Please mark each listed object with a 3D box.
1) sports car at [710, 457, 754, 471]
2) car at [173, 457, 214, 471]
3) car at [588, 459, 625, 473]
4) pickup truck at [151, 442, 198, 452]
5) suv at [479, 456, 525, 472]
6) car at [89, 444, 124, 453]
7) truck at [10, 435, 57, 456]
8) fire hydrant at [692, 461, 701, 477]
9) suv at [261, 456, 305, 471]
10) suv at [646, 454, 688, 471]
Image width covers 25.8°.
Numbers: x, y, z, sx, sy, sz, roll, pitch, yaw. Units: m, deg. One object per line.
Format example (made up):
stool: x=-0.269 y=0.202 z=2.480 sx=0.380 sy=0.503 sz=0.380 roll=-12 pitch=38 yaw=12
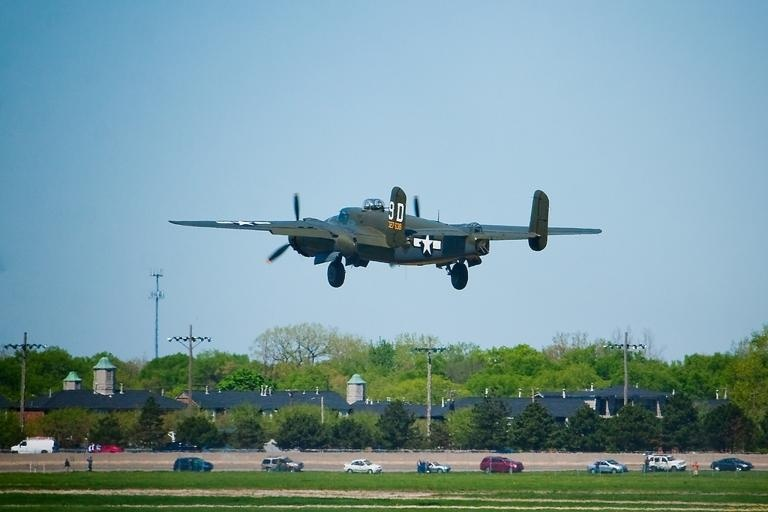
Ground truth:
sports car: x=42.285 y=24.418 z=200.104 sx=4.027 sy=1.331 sz=1.814 roll=-3 pitch=2 yaw=16
car: x=-22.807 y=24.409 z=200.070 sx=3.341 sy=1.442 sz=2.069 roll=-2 pitch=-2 yaw=14
car: x=27.267 y=24.740 z=201.019 sx=3.638 sy=1.324 sz=1.698 roll=-3 pitch=0 yaw=26
pickup truck: x=-26.349 y=23.862 z=214.375 sx=3.176 sy=0.920 sz=2.083 roll=2 pitch=-3 yaw=6
suv: x=14.834 y=24.819 z=203.701 sx=4.232 sy=1.647 sz=2.130 roll=-2 pitch=2 yaw=22
car: x=-35.761 y=23.954 z=215.018 sx=4.767 sy=1.054 sz=2.256 roll=-5 pitch=-14 yaw=27
truck: x=-44.678 y=23.685 z=214.502 sx=4.198 sy=2.101 sz=2.409 roll=2 pitch=-7 yaw=0
fire hydrant: x=38.201 y=24.780 z=199.969 sx=1.135 sy=2.114 sz=1.150 roll=-2 pitch=-17 yaw=-4
suv: x=-12.173 y=24.600 z=202.009 sx=3.539 sy=1.740 sz=2.086 roll=-3 pitch=-4 yaw=20
suv: x=34.630 y=24.274 z=201.250 sx=3.417 sy=1.678 sz=2.090 roll=-1 pitch=-1 yaw=11
